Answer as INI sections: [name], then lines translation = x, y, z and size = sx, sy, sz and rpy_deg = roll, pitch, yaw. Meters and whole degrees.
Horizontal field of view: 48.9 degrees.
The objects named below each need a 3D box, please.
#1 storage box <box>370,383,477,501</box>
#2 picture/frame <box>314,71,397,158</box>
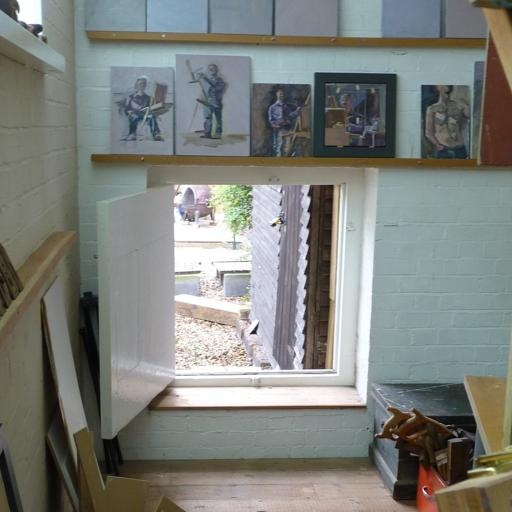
[storage box]
translation = 0.717, 0.823, 2.481
size = 0.338, 0.339, 0.573
rpy_deg = 2, -4, 3
[picture/frame]
translation = 0.419, -0.622, 2.401
size = 0.392, 0.369, 0.029
rpy_deg = 0, 3, -3
